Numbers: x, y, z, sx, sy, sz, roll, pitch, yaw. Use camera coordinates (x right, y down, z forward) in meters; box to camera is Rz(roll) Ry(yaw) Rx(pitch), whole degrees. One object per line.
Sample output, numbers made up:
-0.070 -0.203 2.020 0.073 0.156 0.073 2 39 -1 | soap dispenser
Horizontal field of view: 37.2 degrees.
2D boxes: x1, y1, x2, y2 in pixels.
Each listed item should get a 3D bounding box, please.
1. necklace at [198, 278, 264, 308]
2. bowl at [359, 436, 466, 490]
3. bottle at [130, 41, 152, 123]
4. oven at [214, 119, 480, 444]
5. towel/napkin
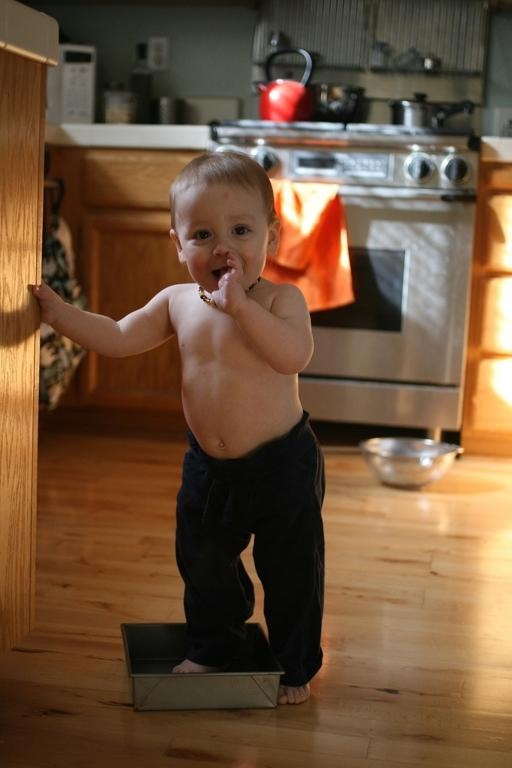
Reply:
-0.034 -0.103 0.873 0.054 0.009 0.042 -24 13 -25 | necklace
0.371 0.187 1.873 0.225 0.111 0.233 3 7 0 | bowl
-0.373 -0.973 2.469 0.072 0.282 0.238 2 7 -9 | bottle
0.352 -0.361 2.313 0.756 0.818 0.658 9 21 31 | oven
0.134 -0.375 2.021 0.297 0.357 0.132 -2 18 -13 | towel/napkin
